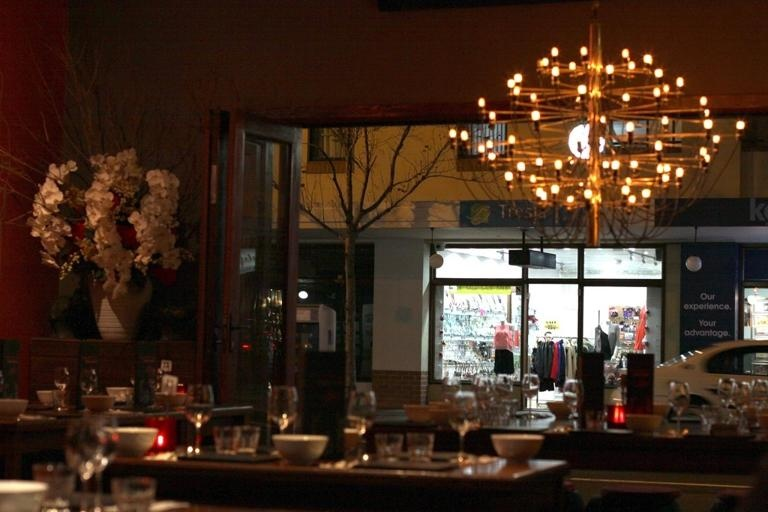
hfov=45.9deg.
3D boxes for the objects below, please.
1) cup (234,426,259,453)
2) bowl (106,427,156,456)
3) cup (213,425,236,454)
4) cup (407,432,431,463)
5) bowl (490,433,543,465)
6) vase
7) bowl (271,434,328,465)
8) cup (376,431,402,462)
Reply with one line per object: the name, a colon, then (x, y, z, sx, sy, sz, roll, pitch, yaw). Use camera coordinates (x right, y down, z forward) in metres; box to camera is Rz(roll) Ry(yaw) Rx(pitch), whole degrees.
cup: (-0.664, 0.905, 4.444, 0.124, 0.101, 0.109, 2, -3, -41)
bowl: (-1.147, 0.847, 4.108, 0.246, 0.111, 0.252, 1, -6, 0)
cup: (-0.799, 0.901, 4.422, 0.119, 0.124, 0.113, 0, -5, 0)
cup: (0.141, 0.923, 4.339, 0.110, 0.123, 0.128, 0, -4, 1)
bowl: (0.588, 0.898, 4.237, 0.157, 0.081, 0.161, -1, -9, 0)
vase: (-2.116, 0.465, 7.536, 0.466, 0.500, 0.463, 1, -5, 11)
bowl: (-0.380, 0.889, 4.182, 0.164, 0.077, 0.160, 1, -11, 0)
cup: (0.014, 0.906, 4.308, 0.124, 0.091, 0.111, 3, -6, -18)
